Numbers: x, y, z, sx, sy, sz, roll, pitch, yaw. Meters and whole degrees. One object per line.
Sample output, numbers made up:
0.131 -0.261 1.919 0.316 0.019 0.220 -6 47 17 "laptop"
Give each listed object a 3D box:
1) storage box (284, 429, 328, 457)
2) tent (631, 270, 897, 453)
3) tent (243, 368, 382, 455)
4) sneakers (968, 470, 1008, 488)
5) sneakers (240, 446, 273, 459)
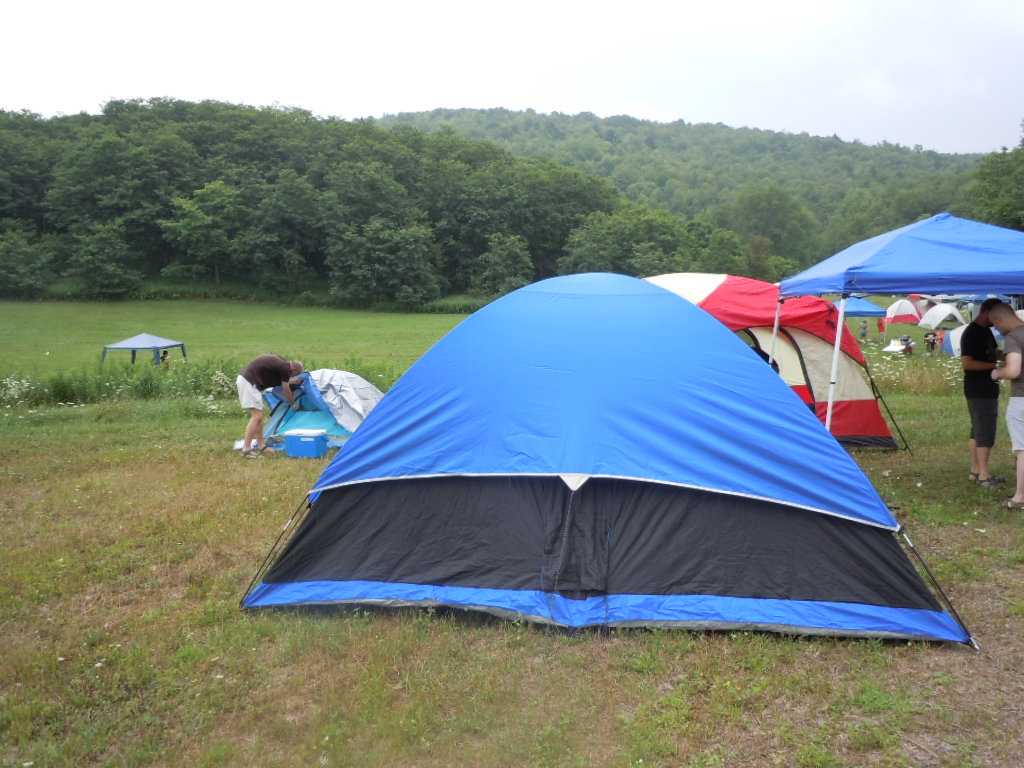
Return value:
-3.157 0.923 14.982 0.448 0.315 0.393 -1 0 13 "storage box"
4.216 -0.577 15.283 2.905 1.956 3.031 1 4 -3 "tent"
-2.982 0.320 15.779 1.896 0.838 2.261 -7 12 41 "tent"
6.171 1.257 12.768 0.426 0.183 0.150 1 9 33 "sneakers"
-3.914 1.076 15.060 0.486 0.217 0.170 -4 38 -11 "sneakers"
